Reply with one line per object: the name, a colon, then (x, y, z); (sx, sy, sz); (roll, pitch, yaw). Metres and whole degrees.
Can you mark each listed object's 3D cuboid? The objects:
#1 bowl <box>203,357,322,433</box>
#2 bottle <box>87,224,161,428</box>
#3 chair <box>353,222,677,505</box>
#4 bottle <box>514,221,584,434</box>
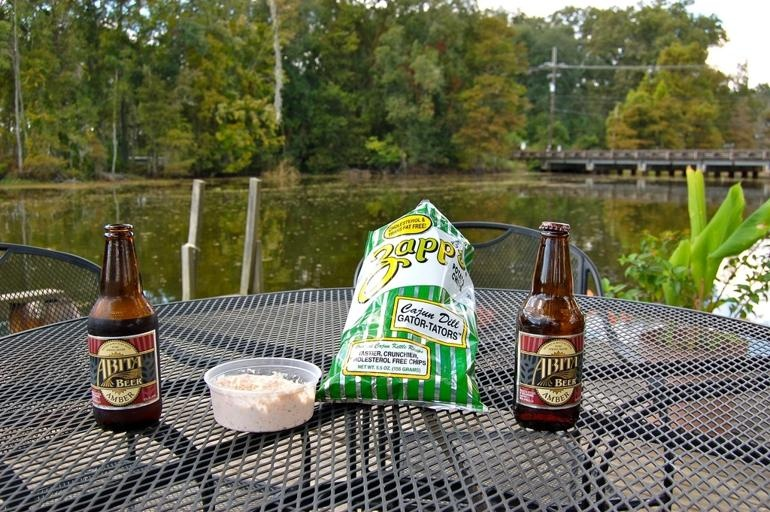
bowl: (-0.184, 0.215, 0.965); (0.140, 0.098, 0.145); (2, 5, 0)
bottle: (-0.383, 0.103, 0.937); (0.101, 0.305, 0.105); (2, 6, 0)
chair: (0.209, 0.181, 1.065); (0.389, 0.369, 0.401); (-1, 22, -1)
bottle: (0.254, 0.105, 0.946); (0.118, 0.314, 0.102); (2, 6, 3)
